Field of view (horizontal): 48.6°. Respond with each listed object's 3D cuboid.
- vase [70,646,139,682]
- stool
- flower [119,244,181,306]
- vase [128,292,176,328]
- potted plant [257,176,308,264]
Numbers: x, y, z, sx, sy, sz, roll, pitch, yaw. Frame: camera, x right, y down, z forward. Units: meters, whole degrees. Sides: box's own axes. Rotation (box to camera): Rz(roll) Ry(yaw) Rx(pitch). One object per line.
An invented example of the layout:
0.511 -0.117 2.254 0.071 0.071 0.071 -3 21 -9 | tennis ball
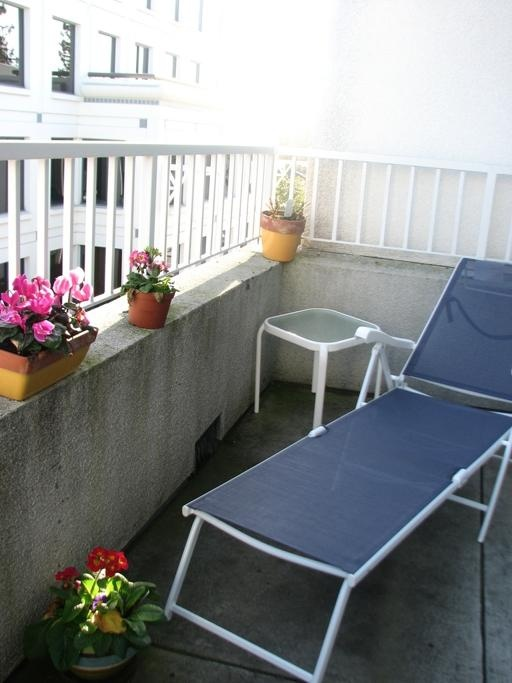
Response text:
-0.347 0.701 1.257 0.120 0.042 0.115 -1 -1 6 | vase
0.301 0.129 2.832 0.604 0.417 0.578 6 18 9 | stool
-0.353 -0.229 1.818 0.163 0.147 0.152 11 10 17 | flower
-0.326 -0.092 1.778 0.121 0.084 0.121 -13 23 -43 | vase
0.146 -0.691 3.272 0.260 0.406 0.249 12 25 19 | potted plant
